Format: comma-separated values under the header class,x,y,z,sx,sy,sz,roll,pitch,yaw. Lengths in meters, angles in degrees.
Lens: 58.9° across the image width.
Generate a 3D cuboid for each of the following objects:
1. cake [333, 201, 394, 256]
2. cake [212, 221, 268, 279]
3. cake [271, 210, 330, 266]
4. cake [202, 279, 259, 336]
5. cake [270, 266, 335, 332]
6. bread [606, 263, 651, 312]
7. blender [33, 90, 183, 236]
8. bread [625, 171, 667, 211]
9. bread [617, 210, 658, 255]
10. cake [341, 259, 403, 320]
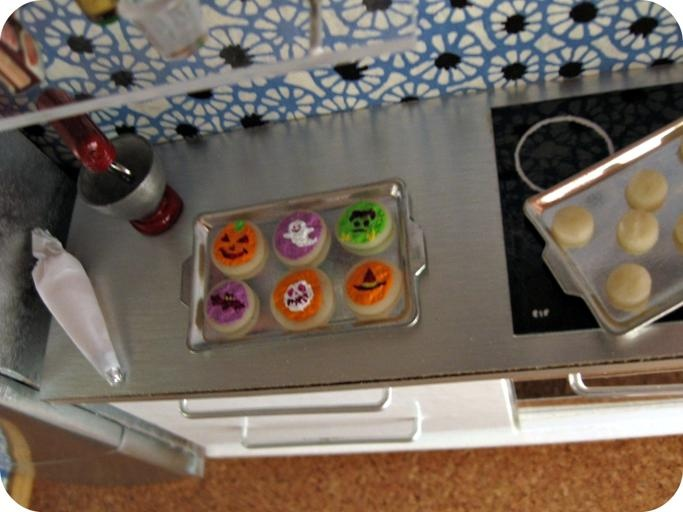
class,x,y,z,sx,sy,sz,roll,pitch,yaw
cake,0.054,-0.063,1.417,0.122,0.068,0.120,-43,62,-13
cake,-0.251,-0.019,1.466,0.129,0.053,0.113,-31,60,-7
cake,-0.097,-0.040,1.445,0.131,0.060,0.124,-4,61,9
cake,-0.257,0.118,1.405,0.117,0.048,0.126,2,81,8
cake,-0.091,0.102,1.389,0.148,0.051,0.132,-13,60,4
bread,0.598,0.063,1.262,0.087,0.042,0.096,23,68,22
blender,-0.571,-0.235,1.522,0.373,0.170,0.171,45,102,9
bread,0.662,-0.140,1.316,0.081,0.041,0.088,-2,73,20
bread,0.641,-0.054,1.301,0.094,0.045,0.090,-9,60,6
cake,0.069,0.074,1.363,0.131,0.054,0.122,-6,60,8
